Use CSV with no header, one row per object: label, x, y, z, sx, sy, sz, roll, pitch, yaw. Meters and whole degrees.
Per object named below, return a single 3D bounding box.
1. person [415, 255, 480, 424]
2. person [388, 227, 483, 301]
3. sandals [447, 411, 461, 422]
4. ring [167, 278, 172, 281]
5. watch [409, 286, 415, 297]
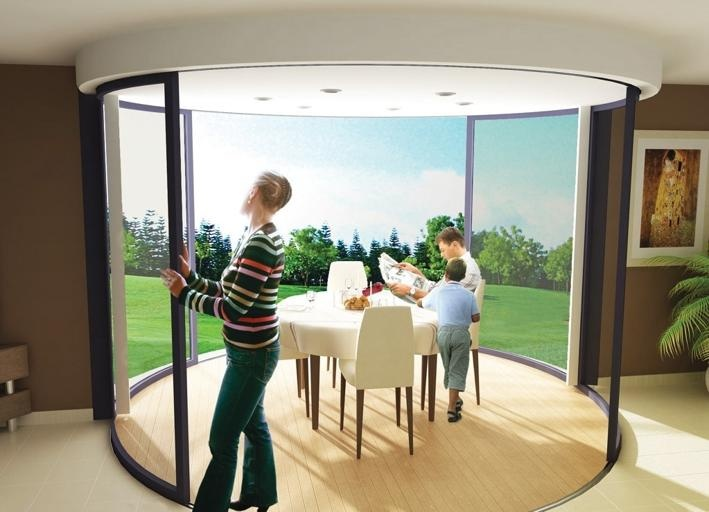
person,0.923,0.829,4.834,0.496,1.571,0.524,4,11,25
person,0.890,0.133,5.410,0.988,0.906,0.635,-3,17,6
sandals,0.969,1.578,4.819,0.086,0.077,0.185,0,6,11
ring,-1.229,0.160,3.270,0.018,0.037,0.018,3,0,0
watch,0.614,0.389,5.284,0.075,0.115,0.036,-3,0,-2
